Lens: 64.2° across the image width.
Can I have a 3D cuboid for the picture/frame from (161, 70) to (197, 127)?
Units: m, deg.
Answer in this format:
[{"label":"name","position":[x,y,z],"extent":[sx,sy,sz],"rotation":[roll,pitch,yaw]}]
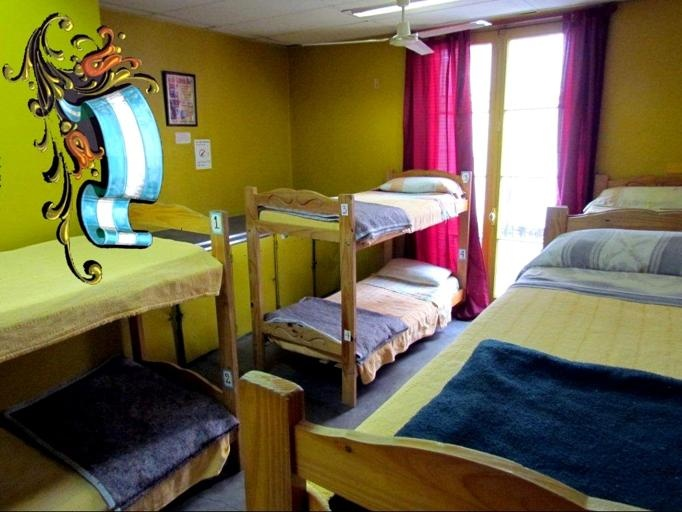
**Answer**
[{"label":"picture/frame","position":[-1.443,-1.396,4.771],"extent":[0.062,0.533,0.482],"rotation":[9,16,29]}]
